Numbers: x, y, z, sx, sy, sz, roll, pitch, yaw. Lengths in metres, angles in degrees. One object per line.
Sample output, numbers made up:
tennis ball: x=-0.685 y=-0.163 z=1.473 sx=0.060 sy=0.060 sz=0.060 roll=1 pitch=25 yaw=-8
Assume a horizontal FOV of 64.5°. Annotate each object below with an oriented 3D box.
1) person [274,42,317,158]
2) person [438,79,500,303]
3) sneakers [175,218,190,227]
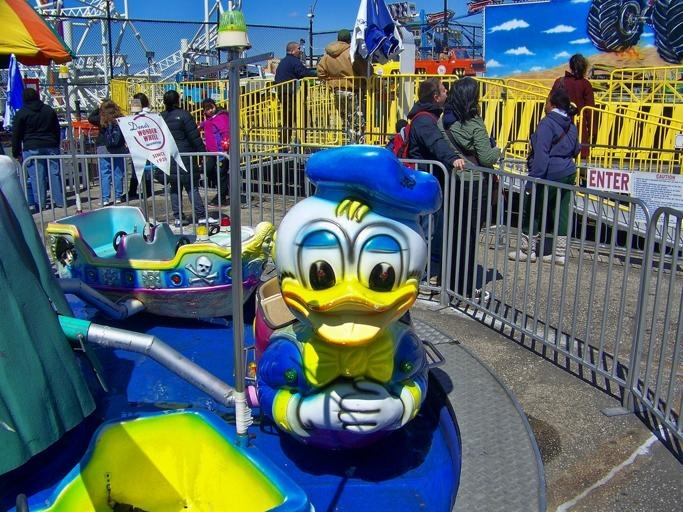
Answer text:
person: x=-1.004 y=-3.404 z=11.408 sx=0.753 sy=2.018 sz=0.915 roll=-4 pitch=15 yaw=-7
person: x=1.265 y=-0.629 z=5.468 sx=0.578 sy=2.235 sz=0.828 roll=2 pitch=16 yaw=15
sneakers: x=-2.480 y=-0.511 z=8.430 sx=0.206 sy=0.112 sz=0.266 roll=-4 pitch=-6 yaw=-32
